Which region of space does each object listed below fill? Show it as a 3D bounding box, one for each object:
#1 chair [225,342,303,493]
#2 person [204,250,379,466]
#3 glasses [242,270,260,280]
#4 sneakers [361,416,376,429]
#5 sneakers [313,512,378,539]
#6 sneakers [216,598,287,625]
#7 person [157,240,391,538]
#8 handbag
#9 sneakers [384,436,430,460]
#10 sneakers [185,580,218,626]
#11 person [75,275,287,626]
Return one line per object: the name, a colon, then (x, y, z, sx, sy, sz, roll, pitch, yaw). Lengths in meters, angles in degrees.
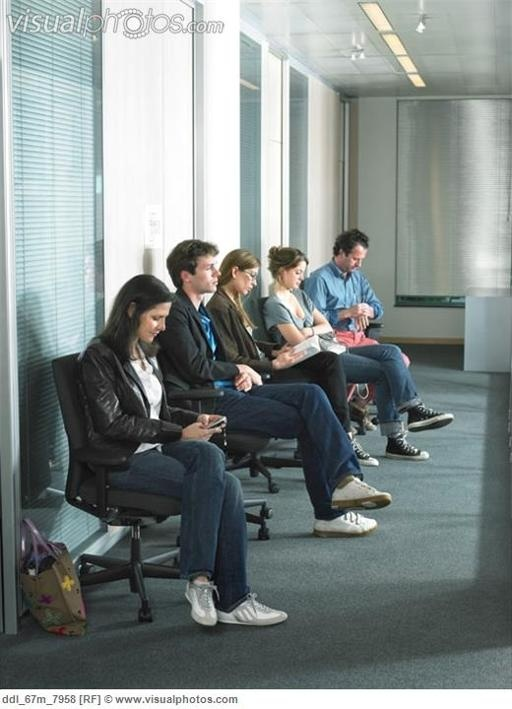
chair: (0.033, 0.469, 3.178, 0.408, 0.414, 0.417, 3, -2, 7)
person: (0.328, 0.017, 3.230, 0.505, 1.010, 0.858, -13, 30, -21)
glasses: (-0.019, -0.389, 3.016, 0.106, 0.030, 0.098, -3, 0, 8)
sneakers: (0.816, 0.504, 4.557, 0.099, 0.101, 0.124, 3, -9, -41)
sneakers: (0.369, 0.712, 2.612, 0.270, 0.113, 0.096, -2, 7, -3)
sneakers: (-0.013, 0.750, 1.833, 0.213, 0.079, 0.078, 0, -3, 0)
person: (0.086, 0.142, 2.583, 1.047, 1.135, 0.610, 4, 3, 1)
handbag: (-0.611, 0.673, 1.842, 0.165, 0.254, 0.282, -9, 15, -22)
sneakers: (0.913, 0.580, 3.824, 0.340, 0.173, 0.111, -1, 6, 9)
sneakers: (-0.153, 0.700, 1.755, 0.081, 0.127, 0.048, -1, 3, -8)
person: (-0.197, 0.286, 1.843, 0.500, 1.042, 0.483, 2, 4, 36)
